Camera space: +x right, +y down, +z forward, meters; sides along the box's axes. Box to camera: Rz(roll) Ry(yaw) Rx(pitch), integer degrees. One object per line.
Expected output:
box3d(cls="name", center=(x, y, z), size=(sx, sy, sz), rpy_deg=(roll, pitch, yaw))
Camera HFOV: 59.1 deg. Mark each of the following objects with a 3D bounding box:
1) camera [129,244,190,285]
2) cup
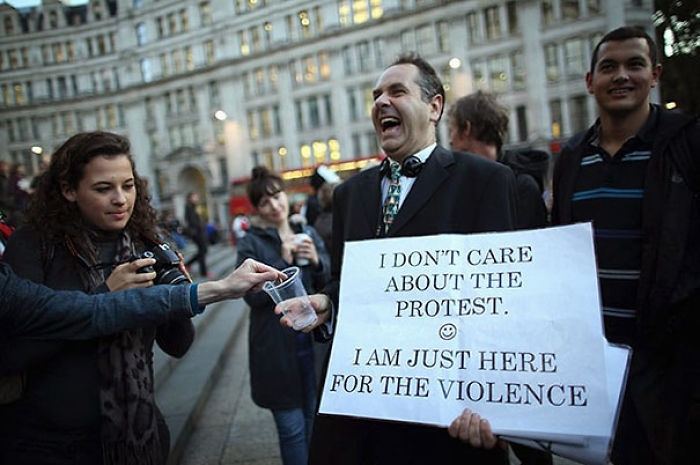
box3d(cls="camera", center=(-1.231, 0.213, 4.052), size=(0.358, 0.252, 0.302), rpy_deg=(-6, 5, -32))
box3d(cls="cup", center=(-0.453, 0.485, 4.404), size=(0.361, 0.412, 0.324), rpy_deg=(-29, 0, -25))
